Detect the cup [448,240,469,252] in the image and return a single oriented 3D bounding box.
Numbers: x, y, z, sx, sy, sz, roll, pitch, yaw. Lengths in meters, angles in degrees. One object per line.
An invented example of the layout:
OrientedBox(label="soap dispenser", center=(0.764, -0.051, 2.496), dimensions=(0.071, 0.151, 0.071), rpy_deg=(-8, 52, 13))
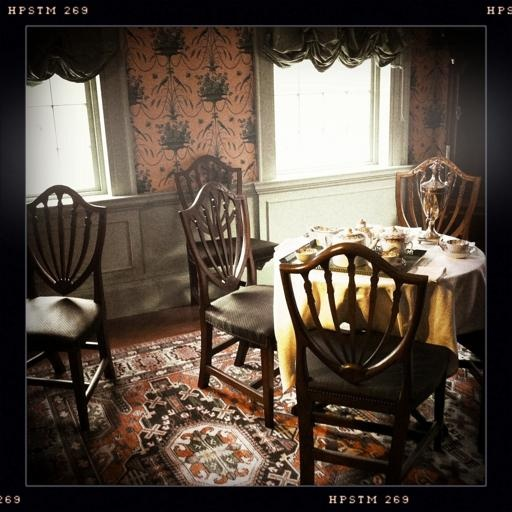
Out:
OrientedBox(label="cup", center=(0.737, -0.038, 1.525), dimensions=(0.044, 0.035, 0.080), rpy_deg=(-4, 5, -15))

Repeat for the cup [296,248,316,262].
OrientedBox(label="cup", center=(0.170, -0.016, 1.463), dimensions=(0.050, 0.034, 0.055), rpy_deg=(-1, 15, 0))

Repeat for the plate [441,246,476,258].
OrientedBox(label="plate", center=(0.750, -0.010, 1.513), dimensions=(0.081, 0.037, 0.051), rpy_deg=(-1, 9, 19))

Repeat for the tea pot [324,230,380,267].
OrientedBox(label="tea pot", center=(0.345, -0.029, 1.449), dimensions=(0.140, 0.174, 0.156), rpy_deg=(0, 5, 9))
